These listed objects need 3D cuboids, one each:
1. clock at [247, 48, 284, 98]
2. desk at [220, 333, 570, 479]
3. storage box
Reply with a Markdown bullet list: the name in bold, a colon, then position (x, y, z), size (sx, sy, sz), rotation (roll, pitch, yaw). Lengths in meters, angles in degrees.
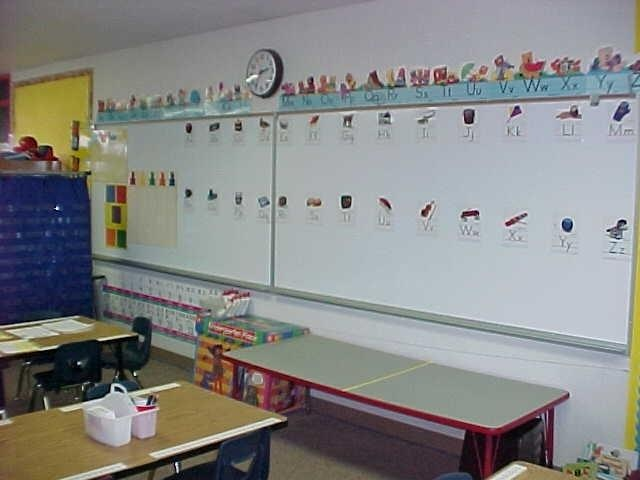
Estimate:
- **clock**: position (-0.533, -1.682, 4.817), size (0.087, 0.435, 0.393), rotation (-7, 33, -45)
- **desk**: position (0.560, 1.258, 3.617), size (2.301, 0.568, 0.959), rotation (5, 8, 31)
- **storage box**: position (-0.647, 1.088, 4.584), size (1.270, 0.947, 0.757), rotation (8, 8, 44)
